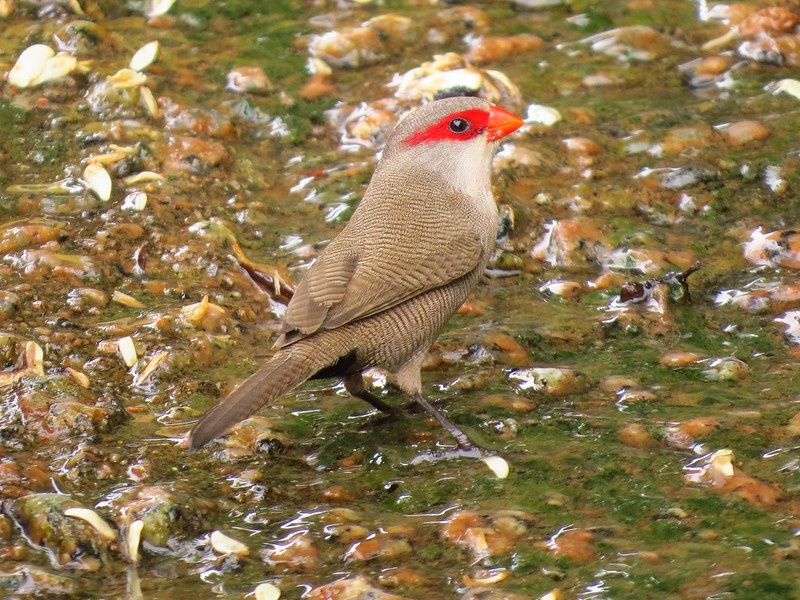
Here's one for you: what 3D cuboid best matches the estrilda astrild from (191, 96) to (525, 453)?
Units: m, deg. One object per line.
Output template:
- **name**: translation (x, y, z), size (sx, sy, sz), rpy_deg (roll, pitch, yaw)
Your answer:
- **estrilda astrild**: translation (-0.039, -0.259, 4.615), size (0.917, 1.546, 1.725), rpy_deg (15, 18, 4)
